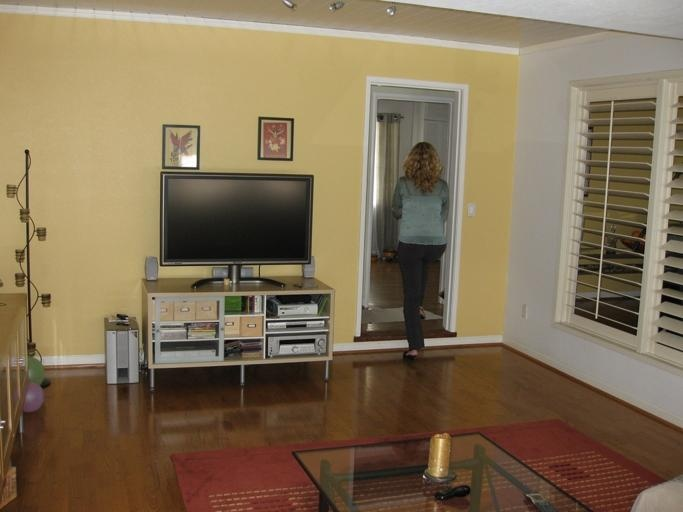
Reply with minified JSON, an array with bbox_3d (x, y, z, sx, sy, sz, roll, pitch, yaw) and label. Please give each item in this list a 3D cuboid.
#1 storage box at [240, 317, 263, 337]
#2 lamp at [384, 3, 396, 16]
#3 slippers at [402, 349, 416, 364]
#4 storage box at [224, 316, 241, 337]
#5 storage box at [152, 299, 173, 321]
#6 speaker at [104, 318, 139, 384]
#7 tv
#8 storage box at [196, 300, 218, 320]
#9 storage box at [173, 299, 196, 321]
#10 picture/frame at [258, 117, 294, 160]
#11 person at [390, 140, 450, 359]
[{"bbox_3d":[-0.721,0.576,4.639,0.174,0.158,0.169,0,10,-5],"label":"storage box"},{"bbox_3d":[0.377,-1.851,4.333,0.097,0.045,0.123,1,9,-7],"label":"lamp"},{"bbox_3d":[0.648,0.935,5.345,0.079,0.056,0.147,-1,1,-10],"label":"slippers"},{"bbox_3d":[-0.876,0.567,4.696,0.154,0.187,0.193,0,5,0],"label":"storage box"},{"bbox_3d":[-1.380,0.433,4.470,0.171,0.160,0.161,0,11,-8],"label":"storage box"},{"bbox_3d":[-1.785,0.769,4.656,0.248,0.465,0.357,-3,12,-23],"label":"speaker"},{"bbox_3d":[-0.878,-0.244,4.745,1.029,0.758,0.235,0,5,-14],"label":"tv"},{"bbox_3d":[-1.069,0.424,4.569,0.167,0.154,0.156,0,2,-21],"label":"storage box"},{"bbox_3d":[-1.237,0.423,4.527,0.167,0.153,0.159,0,1,-25],"label":"storage box"},{"bbox_3d":[-0.598,-1.062,5.122,0.404,0.444,0.021,-1,4,-20],"label":"picture/frame"},{"bbox_3d":[0.717,-0.028,5.276,0.509,1.998,0.350,3,11,5],"label":"person"}]
